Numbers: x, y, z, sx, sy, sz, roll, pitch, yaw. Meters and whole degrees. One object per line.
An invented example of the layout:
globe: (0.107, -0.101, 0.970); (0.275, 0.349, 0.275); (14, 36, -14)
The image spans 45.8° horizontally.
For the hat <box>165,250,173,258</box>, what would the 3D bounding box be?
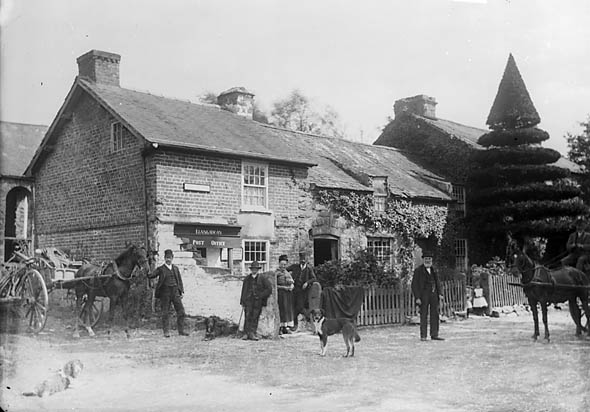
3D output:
hat: (-3.757, 1.430, 20.752); (0.236, 0.223, 0.243); (2, 6, 5)

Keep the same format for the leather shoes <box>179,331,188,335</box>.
leather shoes: (-3.290, 3.779, 20.611); (0.289, 0.123, 0.252); (1, -11, -9)

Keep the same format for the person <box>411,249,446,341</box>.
person: (3.877, 2.667, 20.608); (0.851, 2.611, 0.566); (-1, -10, 1)

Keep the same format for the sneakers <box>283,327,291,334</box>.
sneakers: (-0.278, 3.834, 21.422); (0.123, 0.255, 0.360); (6, -12, -38)

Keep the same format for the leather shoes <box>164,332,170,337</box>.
leather shoes: (-3.719, 3.758, 20.289); (0.117, 0.119, 0.124); (0, -2, 19)

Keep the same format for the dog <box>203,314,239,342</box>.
dog: (-2.228, 3.607, 20.615); (0.665, 0.687, 1.347); (-6, -12, 25)

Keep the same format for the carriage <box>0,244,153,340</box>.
carriage: (-6.457, 2.356, 19.630); (3.867, 2.370, 2.297); (-2, -5, 16)

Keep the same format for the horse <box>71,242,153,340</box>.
horse: (-5.413, 2.501, 20.501); (2.988, 2.550, 0.920); (-4, -4, 31)

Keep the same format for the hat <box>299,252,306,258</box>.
hat: (0.246, 1.613, 22.403); (0.168, 0.242, 0.259); (-1, -10, 0)

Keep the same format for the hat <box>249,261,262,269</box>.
hat: (-1.275, 1.859, 21.830); (0.496, 0.211, 0.560); (0, -3, -3)

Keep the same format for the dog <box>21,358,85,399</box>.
dog: (-5.163, 3.762, 15.109); (0.299, 0.644, 1.377); (2, 6, 27)

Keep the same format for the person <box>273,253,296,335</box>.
person: (-0.318, 2.724, 21.533); (0.494, 2.396, 0.515); (0, -10, -2)

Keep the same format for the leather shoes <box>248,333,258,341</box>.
leather shoes: (-1.204, 3.831, 20.327); (0.108, 0.216, 0.312); (9, -28, -24)

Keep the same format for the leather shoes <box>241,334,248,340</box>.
leather shoes: (-1.458, 3.837, 20.420); (0.195, 0.170, 0.502); (0, -11, -7)

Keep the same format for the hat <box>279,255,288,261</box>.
hat: (-0.379, 1.645, 21.845); (0.179, 0.178, 0.198); (2, 6, 0)

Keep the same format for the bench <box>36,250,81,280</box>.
bench: (-7.363, 1.721, 21.137); (1.248, 0.464, 0.974); (26, 10, 40)
